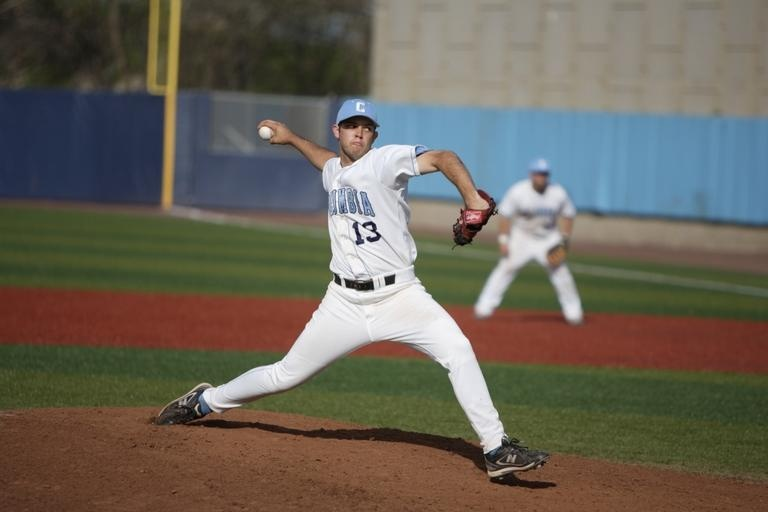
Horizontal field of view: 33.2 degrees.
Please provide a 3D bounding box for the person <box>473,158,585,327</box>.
[{"bbox_3d":[1.836,-0.150,15.756,1.472,1.985,1.095,4,14,20],"label":"person"}]

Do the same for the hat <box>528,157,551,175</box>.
[{"bbox_3d":[1.923,-1.096,15.896,0.314,0.234,0.310,0,0,-3],"label":"hat"}]

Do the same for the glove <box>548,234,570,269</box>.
[{"bbox_3d":[1.856,-0.033,13.541,0.113,0.264,0.293,32,35,13],"label":"glove"}]

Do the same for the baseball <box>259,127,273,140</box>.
[{"bbox_3d":[-1.154,-1.171,12.421,0.125,0.124,0.076,-20,11,12],"label":"baseball"}]

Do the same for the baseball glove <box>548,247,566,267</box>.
[{"bbox_3d":[1.819,-0.001,13.526,0.185,0.193,0.084,18,19,29],"label":"baseball glove"}]

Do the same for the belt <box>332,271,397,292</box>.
[{"bbox_3d":[-0.204,0.217,11.680,0.600,0.175,0.131,7,9,20],"label":"belt"}]

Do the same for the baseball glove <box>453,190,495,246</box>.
[{"bbox_3d":[0.785,-0.325,11.403,0.216,0.506,0.320,35,9,-7],"label":"baseball glove"}]

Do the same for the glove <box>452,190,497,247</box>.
[{"bbox_3d":[0.757,-0.421,11.563,0.325,0.231,0.558,-3,17,-14],"label":"glove"}]
